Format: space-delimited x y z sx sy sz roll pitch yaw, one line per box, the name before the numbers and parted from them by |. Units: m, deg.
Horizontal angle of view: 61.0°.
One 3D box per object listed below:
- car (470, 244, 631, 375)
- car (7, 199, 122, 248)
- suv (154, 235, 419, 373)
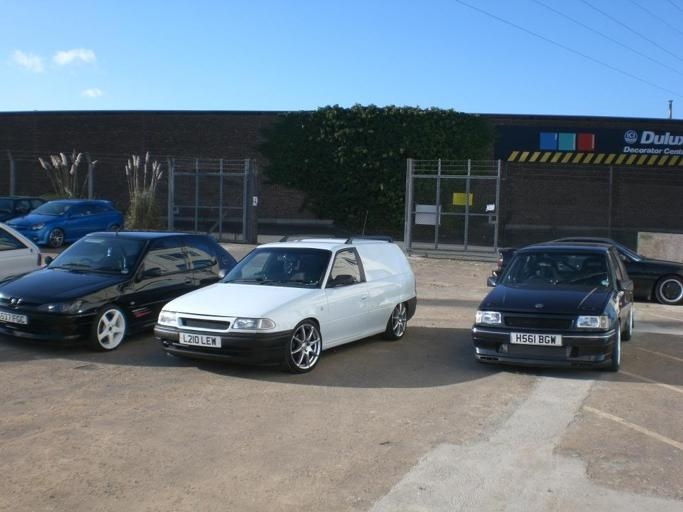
car | 3.245 0.622 8.501 1.511 1.013 2.632 -1 2 27
car | -9.842 -1.208 21.313 1.981 1.441 4.104 2 3 35
suv | -0.642 0.696 8.453 1.966 1.173 3.105 0 0 36
